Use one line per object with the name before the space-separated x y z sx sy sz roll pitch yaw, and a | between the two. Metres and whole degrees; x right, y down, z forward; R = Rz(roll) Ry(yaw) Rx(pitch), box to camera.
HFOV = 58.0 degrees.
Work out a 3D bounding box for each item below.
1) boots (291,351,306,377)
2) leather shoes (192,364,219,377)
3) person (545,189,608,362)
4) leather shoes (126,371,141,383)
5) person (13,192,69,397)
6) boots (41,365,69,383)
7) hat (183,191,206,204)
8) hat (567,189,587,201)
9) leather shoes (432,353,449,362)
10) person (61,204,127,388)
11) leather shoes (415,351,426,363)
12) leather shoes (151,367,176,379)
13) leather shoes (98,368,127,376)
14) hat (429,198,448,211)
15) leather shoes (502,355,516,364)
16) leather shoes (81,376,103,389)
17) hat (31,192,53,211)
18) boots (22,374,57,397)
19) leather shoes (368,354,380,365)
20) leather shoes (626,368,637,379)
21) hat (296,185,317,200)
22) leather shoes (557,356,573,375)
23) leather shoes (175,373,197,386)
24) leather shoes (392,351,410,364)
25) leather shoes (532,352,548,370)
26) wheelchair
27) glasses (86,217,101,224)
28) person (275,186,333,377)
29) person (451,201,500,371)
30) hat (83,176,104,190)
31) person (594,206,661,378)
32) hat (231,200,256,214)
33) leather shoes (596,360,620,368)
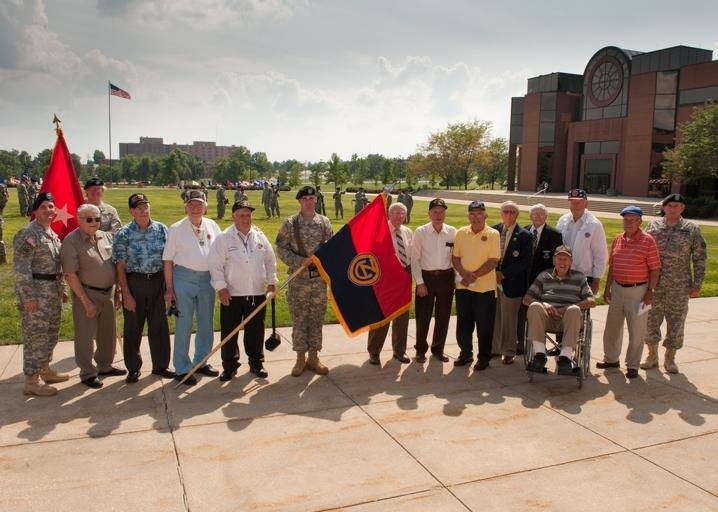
boots | -0.904 1.591 9.634 0.199 0.328 0.335 1 8 -4
leather shoes | -2.286 1.707 9.589 0.385 0.152 0.140 1 2 4
person | 3.475 0.139 10.510 0.716 2.319 1.031 -7 12 -44
leather shoes | -3.216 1.717 9.215 0.196 0.140 0.259 -1 8 -17
person | -4.390 0.510 8.803 0.582 2.683 0.754 -1 8 -15
boots | -4.290 1.668 9.198 0.414 0.268 0.152 -4 11 -26
hat | -2.363 -0.839 9.288 0.239 0.118 0.335 0 9 -20
hat | 3.484 -0.963 10.315 0.340 0.169 0.490 -1 0 36
leather shoes | 1.310 1.617 10.290 0.122 0.072 0.209 -2 1 -30
person | -3.747 0.539 9.193 0.558 2.513 0.723 6 9 29
leather shoes | 0.972 1.622 10.256 0.170 0.158 0.120 0 5 13
leather shoes | -2.831 1.705 9.369 0.382 0.144 0.126 1 0 3
leather shoes | -3.602 1.707 9.468 0.388 0.135 0.137 -3 -2 -3
hat | 1.238 -0.804 10.251 0.236 0.176 0.316 1 7 -2
leather shoes | 2.393 1.640 10.289 0.301 0.115 0.145 -5 10 -42
leather shoes | -3.762 1.779 9.098 0.358 0.125 0.132 -1 2 34
hat | -4.446 -0.781 9.031 0.354 0.181 0.262 -9 -5 44
boots | -4.342 1.734 8.765 0.360 0.276 0.443 -5 10 -41
leather shoes | 0.244 1.615 10.112 0.178 0.142 0.216 1 7 -7
leather shoes | 4.067 1.757 9.675 0.145 0.104 0.148 0 4 41
hat | -0.791 -0.916 9.532 0.269 0.203 0.367 1 7 -5
leather shoes | 2.887 1.561 9.074 0.123 0.139 0.334 -1 8 18
leather shoes | -2.463 1.733 9.200 0.321 0.169 0.294 0 8 -15
leather shoes | 0.674 1.612 10.315 0.293 0.134 0.243 2 7 7
leather shoes | 2.552 1.513 9.221 0.186 0.255 0.232 3 8 13
wheelchair | 2.959 1.305 9.638 0.935 1.075 1.247 4 8 20
glasses | -3.701 -0.498 9.014 0.068 0.073 0.179 8 10 41
person | -0.827 0.358 9.672 0.792 2.766 0.743 1 8 -3
person | 1.771 0.446 10.049 0.712 2.540 0.660 3 8 13
hat | -4.040 -1.091 9.785 0.226 0.112 0.271 -4 4 -37
person | 4.118 0.524 9.886 0.756 2.519 0.864 6 9 28
hat | -1.732 -0.739 9.492 0.234 0.136 0.327 2 -2 -31
leather shoes | 3.850 1.706 10.054 0.349 0.152 0.134 3 -1 2
